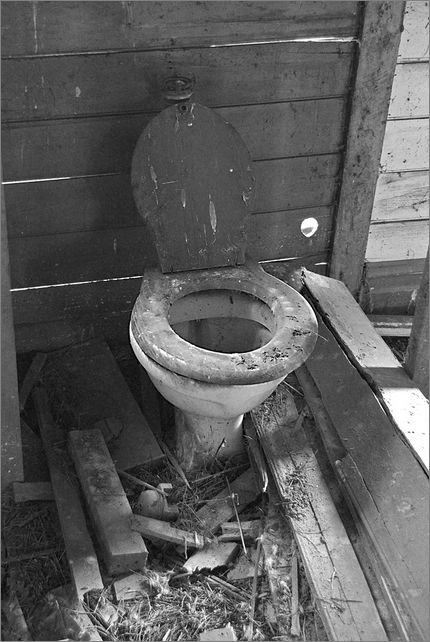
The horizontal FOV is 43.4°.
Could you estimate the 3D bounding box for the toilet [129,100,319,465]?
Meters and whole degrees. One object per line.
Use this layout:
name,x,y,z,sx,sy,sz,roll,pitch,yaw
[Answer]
toilet,0.000,-0.020,1.329,0.413,0.924,0.594,-8,29,-13
